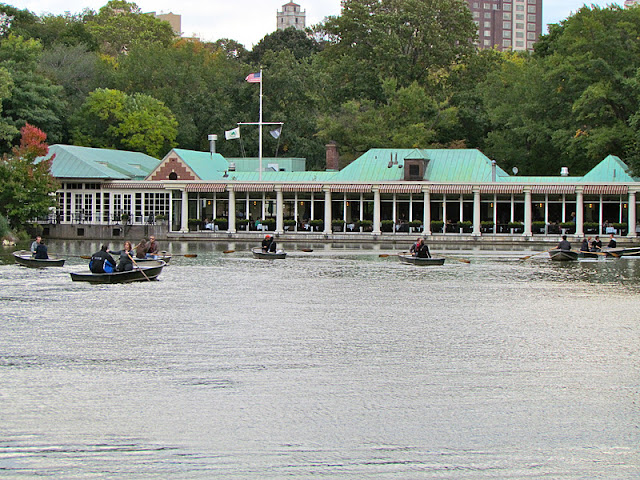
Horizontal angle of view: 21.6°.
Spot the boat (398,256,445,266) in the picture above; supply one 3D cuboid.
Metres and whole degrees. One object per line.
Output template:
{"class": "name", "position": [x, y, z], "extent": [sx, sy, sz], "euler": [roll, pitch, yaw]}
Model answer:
{"class": "boat", "position": [7.499, 1.450, 123.442], "extent": [3.364, 0.846, 1.662], "euler": [-1, -3, 13]}

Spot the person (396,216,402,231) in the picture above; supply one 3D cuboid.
{"class": "person", "position": [7.067, -1.273, 149.280], "extent": [0.545, 1.108, 1.225], "euler": [-1, -2, 1]}

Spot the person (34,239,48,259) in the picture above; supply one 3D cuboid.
{"class": "person", "position": [-19.895, 0.724, 119.582], "extent": [0.929, 1.268, 1.424], "euler": [0, -2, -9]}

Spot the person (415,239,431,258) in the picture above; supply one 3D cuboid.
{"class": "person", "position": [7.571, 0.651, 123.609], "extent": [0.920, 1.146, 0.787], "euler": [-1, -2, 3]}

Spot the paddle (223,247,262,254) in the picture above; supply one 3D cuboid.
{"class": "paddle", "position": [-6.242, 0.817, 134.515], "extent": [4.135, 0.454, 0.453], "euler": [-1, 1, -7]}

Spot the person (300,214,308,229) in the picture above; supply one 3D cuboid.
{"class": "person", "position": [-1.395, -1.524, 151.475], "extent": [1.053, 1.055, 0.438], "euler": [0, -3, 15]}

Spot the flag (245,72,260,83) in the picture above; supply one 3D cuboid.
{"class": "flag", "position": [-5.911, -14.611, 150.564], "extent": [1.156, 0.876, 1.514], "euler": [-1, -2, 0]}

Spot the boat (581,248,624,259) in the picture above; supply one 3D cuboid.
{"class": "boat", "position": [21.881, 1.162, 130.736], "extent": [4.111, 0.660, 1.071], "euler": [-3, 4, -33]}

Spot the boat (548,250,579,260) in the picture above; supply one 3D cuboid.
{"class": "boat", "position": [18.782, 1.132, 128.996], "extent": [2.095, 0.832, 1.688], "euler": [-1, -2, 7]}

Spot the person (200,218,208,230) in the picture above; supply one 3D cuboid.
{"class": "person", "position": [-10.515, -1.435, 152.018], "extent": [0.692, 0.983, 1.815], "euler": [-1, -2, -3]}

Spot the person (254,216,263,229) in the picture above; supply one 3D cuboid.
{"class": "person", "position": [-5.469, -1.370, 151.184], "extent": [0.603, 1.098, 1.649], "euler": [0, -2, -5]}
